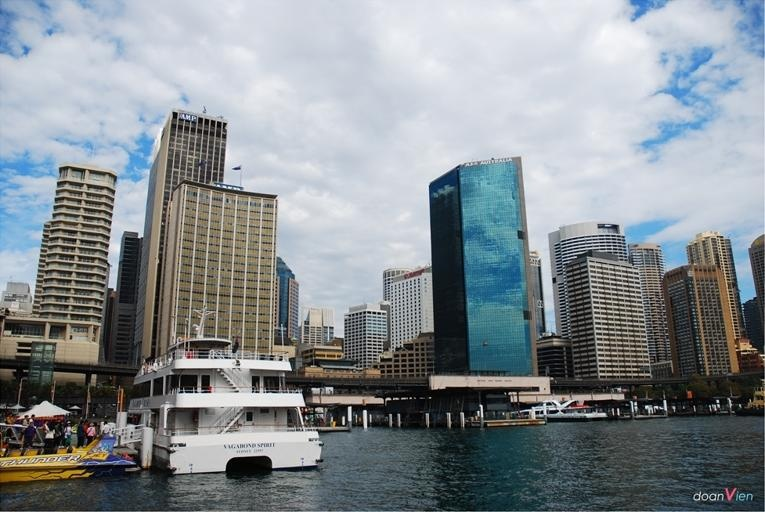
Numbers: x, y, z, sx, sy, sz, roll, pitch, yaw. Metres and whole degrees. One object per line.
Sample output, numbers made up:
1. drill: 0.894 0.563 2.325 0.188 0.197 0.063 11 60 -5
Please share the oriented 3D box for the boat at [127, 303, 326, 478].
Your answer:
1. boat: -22.032 18.138 73.603 19.286 11.312 24.516 6 -13 -29
